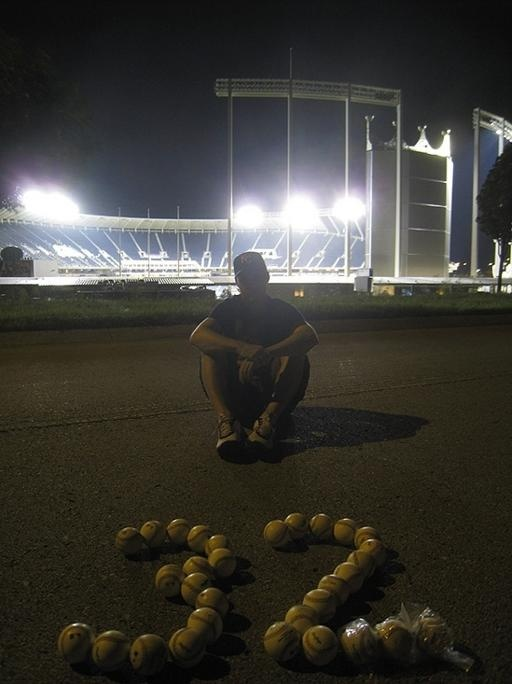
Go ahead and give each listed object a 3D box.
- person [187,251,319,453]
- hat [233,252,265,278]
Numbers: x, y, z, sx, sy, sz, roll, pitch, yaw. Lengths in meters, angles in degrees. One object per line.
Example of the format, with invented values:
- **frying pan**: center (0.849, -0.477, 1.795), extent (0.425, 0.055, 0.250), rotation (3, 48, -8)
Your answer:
- **person**: center (-0.028, 0.119, 3.395), extent (0.637, 1.415, 0.742), rotation (0, 1, -3)
- **hat**: center (-0.038, -0.515, 3.507), extent (0.207, 0.163, 0.349), rotation (0, 11, 3)
